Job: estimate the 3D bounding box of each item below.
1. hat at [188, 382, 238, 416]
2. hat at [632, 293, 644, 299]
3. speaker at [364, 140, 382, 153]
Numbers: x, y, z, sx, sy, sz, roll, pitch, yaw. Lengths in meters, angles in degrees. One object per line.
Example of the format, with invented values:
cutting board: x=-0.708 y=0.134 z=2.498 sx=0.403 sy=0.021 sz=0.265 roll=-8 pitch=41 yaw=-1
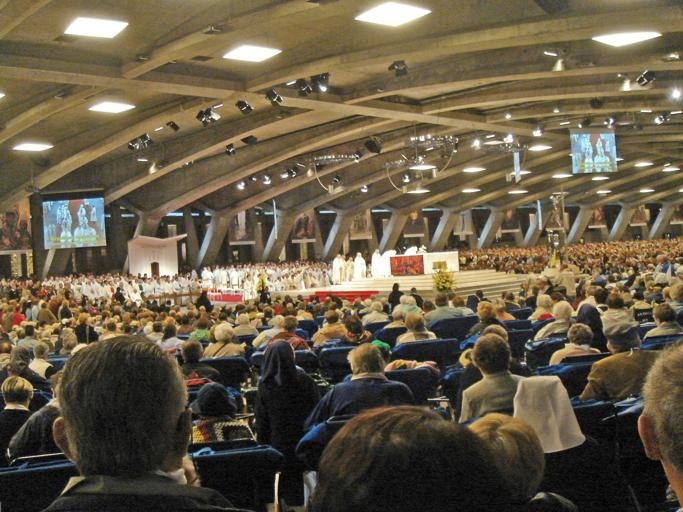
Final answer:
hat: x=-1.004 y=1.089 z=5.318 sx=0.458 sy=0.223 sz=0.514 roll=2 pitch=13 yaw=-9
hat: x=5.805 y=0.776 z=12.938 sx=0.139 sy=0.129 sz=0.180 roll=0 pitch=-9 yaw=4
speaker: x=1.200 y=-4.688 z=28.067 sx=0.571 sy=0.275 sz=0.724 roll=7 pitch=1 yaw=-32
